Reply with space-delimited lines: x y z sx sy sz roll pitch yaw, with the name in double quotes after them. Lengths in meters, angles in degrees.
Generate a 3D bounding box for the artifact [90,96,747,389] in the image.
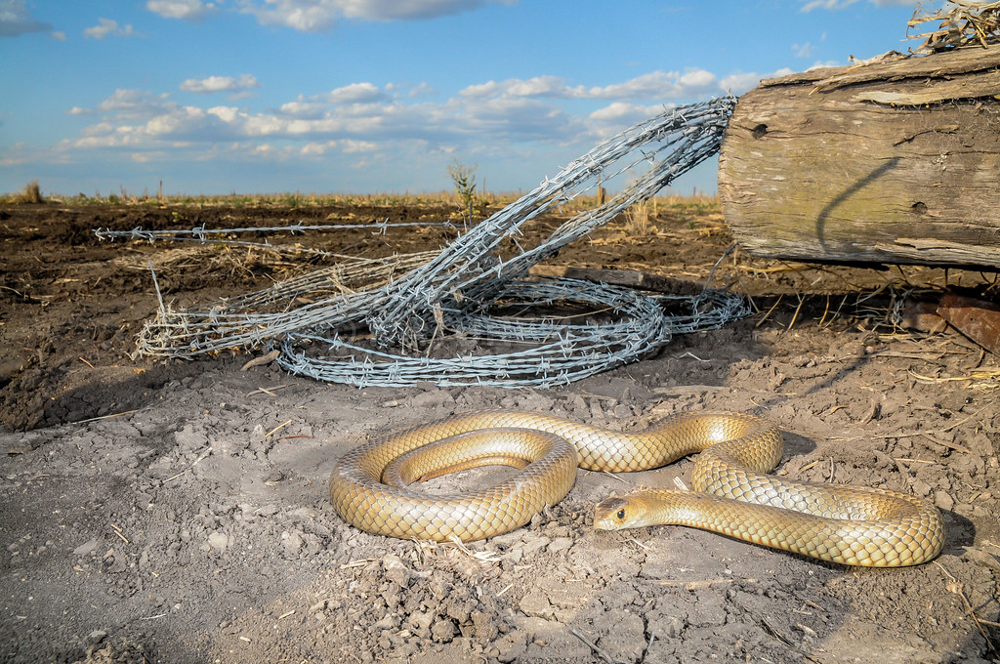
-0.994 -0.679 9.065 7.177 2.015 4.629 -2 6 -5 "artifact"
